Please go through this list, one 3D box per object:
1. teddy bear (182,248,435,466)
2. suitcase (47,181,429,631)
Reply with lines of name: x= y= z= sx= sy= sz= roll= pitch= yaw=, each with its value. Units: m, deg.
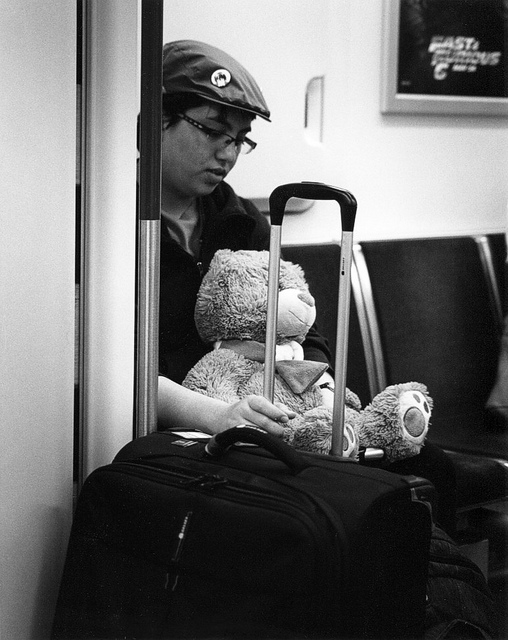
teddy bear: x=0.084 y=0.014 z=1.136 sx=0.307 sy=0.372 sz=0.288 roll=0 pitch=6 yaw=33
suitcase: x=-0.007 y=0.082 z=0.872 sx=0.404 sy=0.450 sz=0.541 roll=-3 pitch=14 yaw=13
